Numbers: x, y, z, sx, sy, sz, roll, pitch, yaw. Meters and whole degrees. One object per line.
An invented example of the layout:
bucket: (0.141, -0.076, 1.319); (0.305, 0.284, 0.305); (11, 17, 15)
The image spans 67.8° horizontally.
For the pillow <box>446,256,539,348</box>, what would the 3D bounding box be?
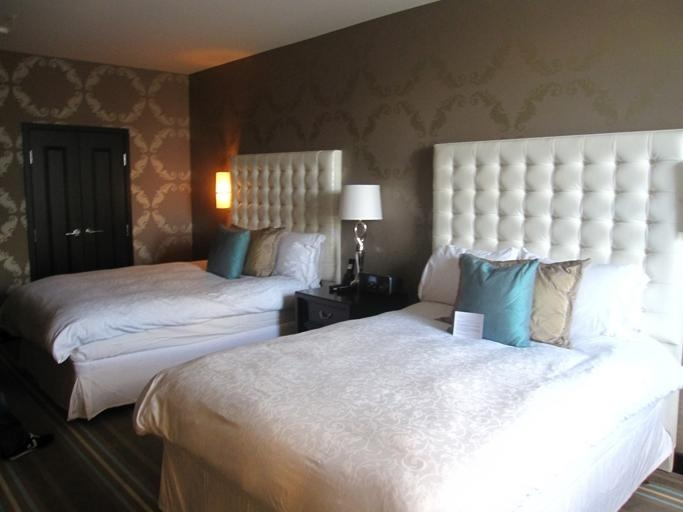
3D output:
pillow: (0.922, 0.290, 3.060); (0.480, 0.494, 0.182); (4, -7, 34)

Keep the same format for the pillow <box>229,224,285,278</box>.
pillow: (-0.819, -0.008, 5.013); (0.372, 0.470, 0.682); (-6, 0, -39)

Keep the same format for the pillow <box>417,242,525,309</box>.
pillow: (0.854, 0.126, 3.805); (0.188, 0.509, 0.503); (26, -14, -37)

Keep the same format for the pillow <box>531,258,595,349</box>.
pillow: (1.323, 0.275, 3.092); (0.463, 0.460, 0.139); (0, -7, 44)

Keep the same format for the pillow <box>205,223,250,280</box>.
pillow: (-1.100, -0.035, 4.970); (0.281, 0.494, 0.618); (-16, 9, -41)

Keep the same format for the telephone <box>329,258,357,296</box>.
telephone: (-0.001, 0.171, 4.554); (0.242, 0.292, 0.178); (-1, 5, -19)

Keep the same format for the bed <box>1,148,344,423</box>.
bed: (-1.412, 0.221, 5.020); (2.938, 2.050, 2.224); (-4, 9, -44)
